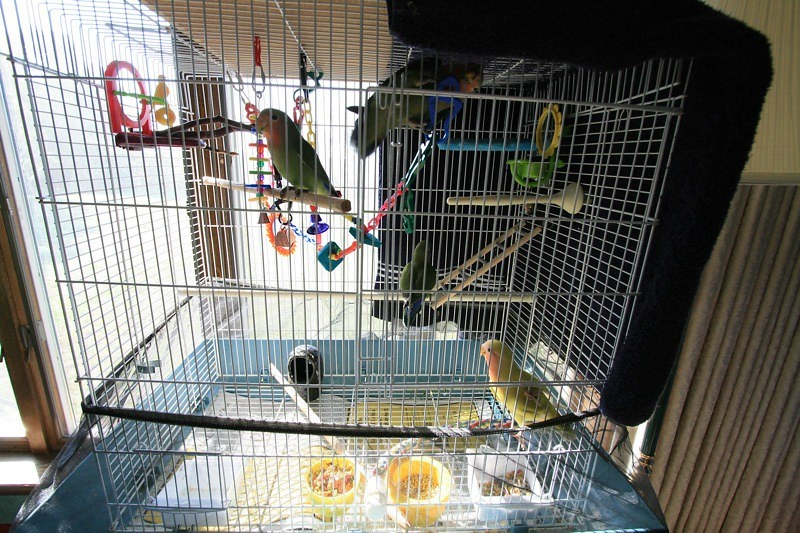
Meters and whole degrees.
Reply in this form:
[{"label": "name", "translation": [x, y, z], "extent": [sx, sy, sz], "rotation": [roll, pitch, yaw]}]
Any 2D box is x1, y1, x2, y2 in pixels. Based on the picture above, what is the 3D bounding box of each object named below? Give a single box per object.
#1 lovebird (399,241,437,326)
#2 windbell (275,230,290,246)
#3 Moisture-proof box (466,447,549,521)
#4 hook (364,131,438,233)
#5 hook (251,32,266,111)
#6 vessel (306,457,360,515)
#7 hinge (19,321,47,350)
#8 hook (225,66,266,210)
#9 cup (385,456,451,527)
[{"label": "lovebird", "translation": [0.044, 0.049, 1.505], "extent": [0.082, 0.240, 0.108], "rotation": [8, -46, 12]}, {"label": "windbell", "translation": [-0.337, -0.079, 1.562], "extent": [0.033, 0.025, 0.047], "rotation": [7, -55, -2]}, {"label": "Moisture-proof box", "translation": [0.296, 0.613, 1.516], "extent": [0.236, 0.217, 0.086], "rotation": [2, -48, -15]}, {"label": "hook", "translation": [-0.001, -0.249, 1.602], "extent": [0.069, 0.439, 0.077], "rotation": [20, -24, 22]}, {"label": "hook", "translation": [-0.352, -0.486, 1.344], "extent": [0.033, 0.017, 0.153], "rotation": [-10, -51, -21]}, {"label": "vessel", "translation": [-0.186, 0.617, 1.513], "extent": [0.161, 0.168, 0.107], "rotation": [-3, -81, -20]}, {"label": "hinge", "translation": [-1.278, 0.240, 1.889], "extent": [0.068, 0.018, 0.081], "rotation": [0, -81, -35]}, {"label": "hook", "translation": [-0.385, -0.332, 1.427], "extent": [0.086, 0.060, 0.372], "rotation": [5, -56, 3]}, {"label": "cup", "translation": [0.050, 0.608, 1.515], "extent": [0.181, 0.152, 0.153], "rotation": [5, -68, -6]}]
